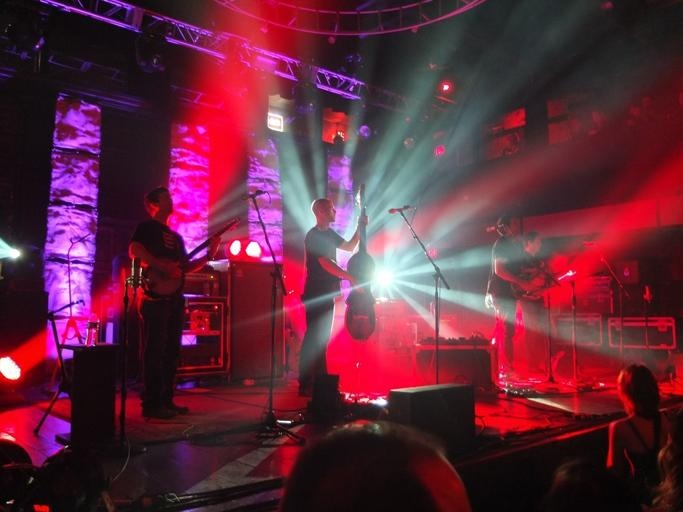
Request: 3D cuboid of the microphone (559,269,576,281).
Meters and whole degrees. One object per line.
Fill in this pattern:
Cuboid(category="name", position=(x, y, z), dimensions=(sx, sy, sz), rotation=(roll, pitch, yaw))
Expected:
Cuboid(category="microphone", position=(3.136, 0.271, 8.022), dimensions=(0.260, 0.073, 0.146), rotation=(-5, 10, -25))

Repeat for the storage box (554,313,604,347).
Cuboid(category="storage box", position=(3.880, 1.209, 9.453), dimensions=(0.759, 0.600, 0.343), rotation=(2, -28, 1))

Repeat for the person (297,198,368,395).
Cuboid(category="person", position=(-0.250, 0.410, 6.588), dimensions=(0.493, 1.972, 0.844), rotation=(8, -28, -11))

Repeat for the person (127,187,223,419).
Cuboid(category="person", position=(-1.816, 0.473, 5.833), dimensions=(0.649, 2.163, 0.979), rotation=(3, -28, -1))

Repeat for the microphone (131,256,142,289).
Cuboid(category="microphone", position=(-1.902, 0.167, 5.300), dimensions=(0.075, 0.235, 0.246), rotation=(9, -28, -11))

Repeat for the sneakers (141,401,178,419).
Cuboid(category="sneakers", position=(-1.821, 1.527, 5.710), dimensions=(0.422, 0.178, 0.142), rotation=(0, -7, 10))

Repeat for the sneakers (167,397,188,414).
Cuboid(category="sneakers", position=(-1.686, 1.535, 5.797), dimensions=(0.286, 0.120, 0.095), rotation=(5, -9, -19))

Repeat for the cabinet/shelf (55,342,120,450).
Cuboid(category="cabinet/shelf", position=(-2.075, 1.177, 4.785), dimensions=(0.468, 0.842, 0.383), rotation=(12, -29, -18))
